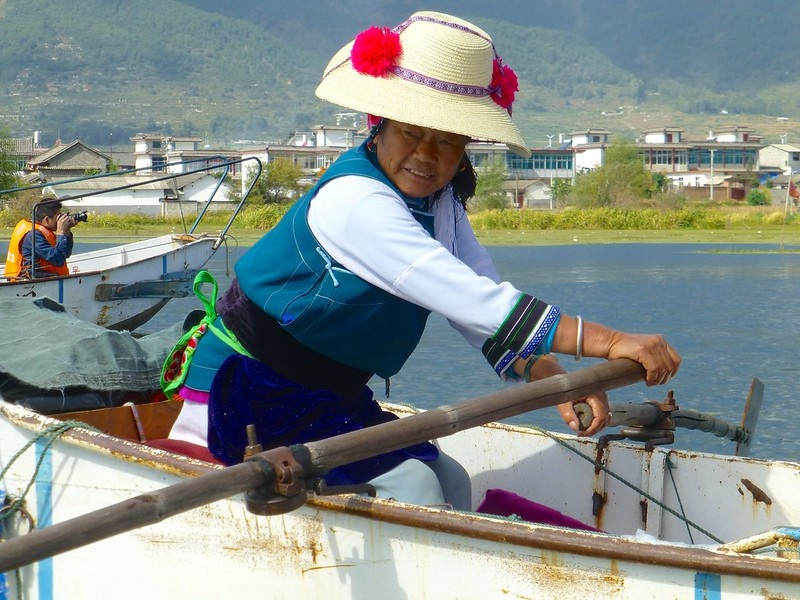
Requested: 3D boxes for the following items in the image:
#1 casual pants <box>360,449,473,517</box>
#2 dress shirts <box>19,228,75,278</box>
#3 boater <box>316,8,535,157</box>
[{"bbox_3d":[0.086,1.006,9.081,0.449,0.369,0.358,-20,-8,22],"label":"casual pants"},{"bbox_3d":[-3.245,-0.453,14.806,0.464,0.553,0.474,-5,16,-12],"label":"dress shirts"},{"bbox_3d":[0.113,-1.210,8.782,0.868,0.432,0.888,25,28,23],"label":"boater"}]
